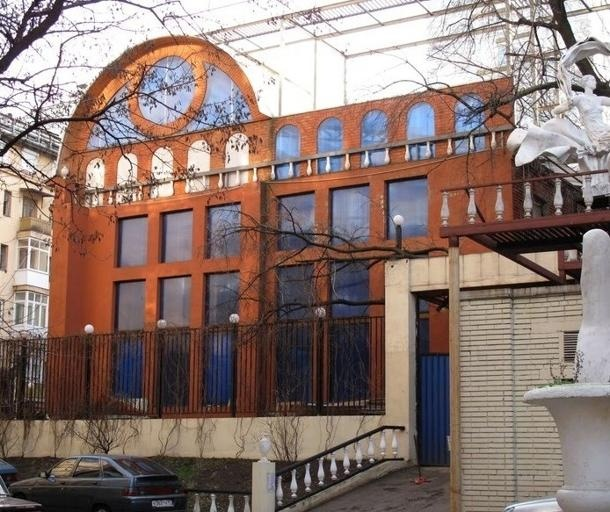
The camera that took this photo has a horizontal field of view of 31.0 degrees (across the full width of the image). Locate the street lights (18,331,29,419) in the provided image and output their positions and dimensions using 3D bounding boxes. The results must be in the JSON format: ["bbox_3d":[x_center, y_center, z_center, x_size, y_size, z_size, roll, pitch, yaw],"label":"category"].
[{"bbox_3d":[-8.440,3.875,34.126,0.339,2.255,0.528,1,-11,-23],"label":"street lights"}]

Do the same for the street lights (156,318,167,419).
[{"bbox_3d":[-4.094,3.245,32.036,0.499,2.715,0.520,1,-5,-9],"label":"street lights"}]
